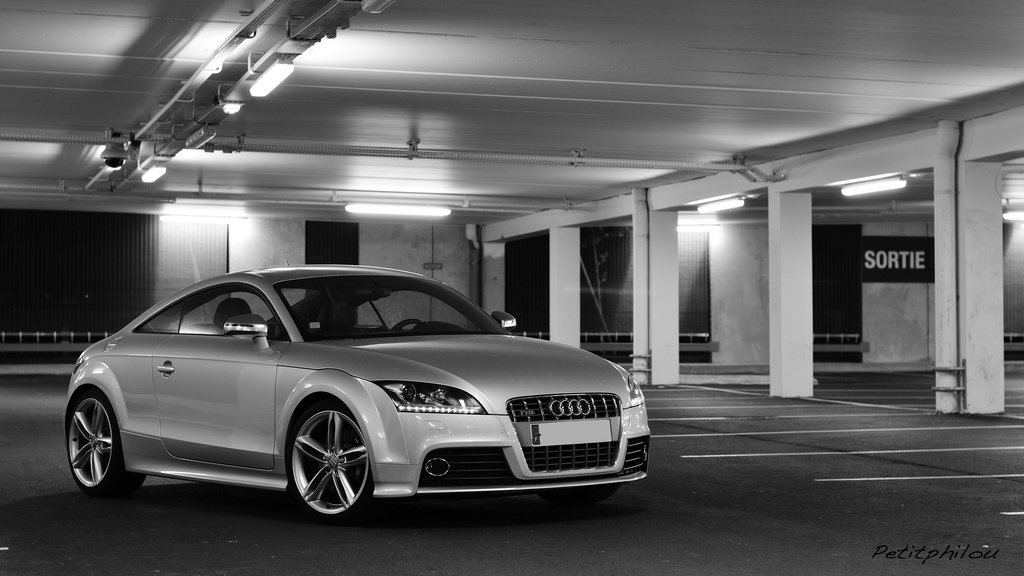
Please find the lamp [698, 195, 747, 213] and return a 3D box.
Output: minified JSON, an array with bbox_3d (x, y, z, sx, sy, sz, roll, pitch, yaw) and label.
[{"bbox_3d":[5.543,-2.240,26.206,1.079,0.548,2.829,-2,8,10],"label":"lamp"}]
